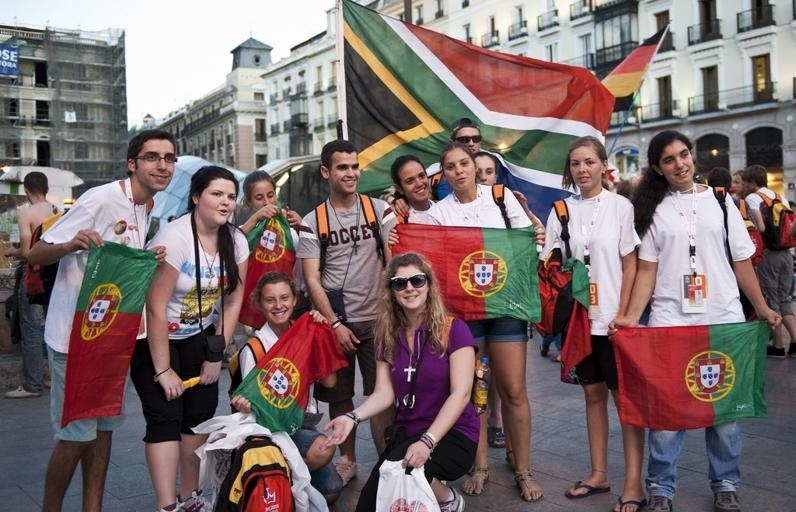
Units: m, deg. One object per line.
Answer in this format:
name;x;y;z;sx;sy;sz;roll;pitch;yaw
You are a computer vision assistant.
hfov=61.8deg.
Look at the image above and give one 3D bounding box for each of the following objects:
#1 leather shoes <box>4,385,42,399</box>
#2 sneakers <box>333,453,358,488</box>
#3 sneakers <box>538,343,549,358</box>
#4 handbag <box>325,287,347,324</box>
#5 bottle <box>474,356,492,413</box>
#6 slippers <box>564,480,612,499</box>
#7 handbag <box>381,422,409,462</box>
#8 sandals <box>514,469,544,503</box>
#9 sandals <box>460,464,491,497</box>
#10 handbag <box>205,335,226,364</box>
leather shoes;-5.216;1.879;9.260;0.429;0.183;0.200;7;-12;-4
sneakers;-0.519;2.100;6.602;0.223;0.213;0.260;-1;8;-3
sneakers;2.460;1.563;11.158;0.097;0.290;0.123;-4;2;7
handbag;-0.609;0.473;6.556;0.194;0.311;0.101;-2;8;-4
bottle;0.755;1.163;6.044;0.119;0.494;0.373;1;8;11
slippers;1.751;2.124;6.126;0.393;0.121;0.156;3;-5;-6
handbag;-0.026;1.528;5.506;0.087;0.241;0.182;12;-4;-40
sandals;1.176;2.096;6.194;0.215;0.202;0.357;-8;11;-41
sandals;0.757;2.099;6.413;0.217;0.204;0.419;2;9;21
handbag;-1.583;0.785;5.773;0.161;0.227;0.154;-3;8;-12
